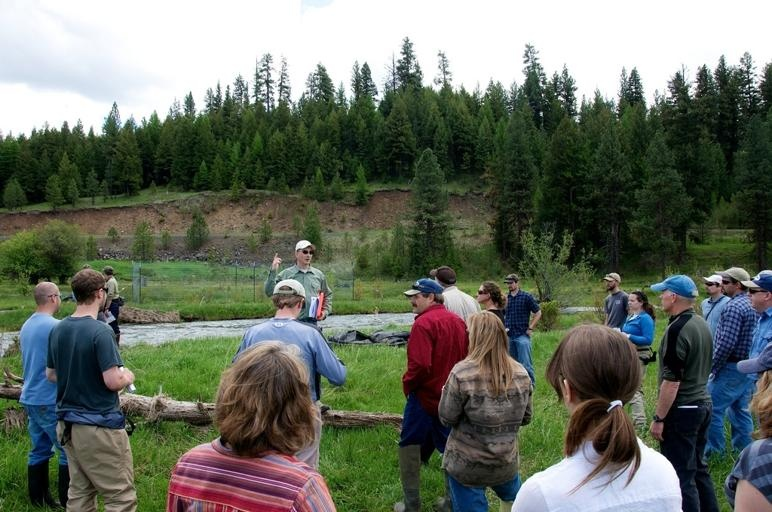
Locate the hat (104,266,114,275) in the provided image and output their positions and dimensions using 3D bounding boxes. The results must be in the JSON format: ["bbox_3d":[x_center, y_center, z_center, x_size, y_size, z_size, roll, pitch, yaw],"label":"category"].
[{"bbox_3d":[-19.616,0.990,61.936,0.499,0.630,0.585,-1,2,-42],"label":"hat"}]

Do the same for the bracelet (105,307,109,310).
[{"bbox_3d":[-19.778,3.709,61.883,0.205,0.243,0.072,1,-9,-8],"label":"bracelet"}]

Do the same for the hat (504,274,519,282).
[{"bbox_3d":[8.652,1.482,60.209,0.717,0.429,0.550,5,-5,-22],"label":"hat"}]
